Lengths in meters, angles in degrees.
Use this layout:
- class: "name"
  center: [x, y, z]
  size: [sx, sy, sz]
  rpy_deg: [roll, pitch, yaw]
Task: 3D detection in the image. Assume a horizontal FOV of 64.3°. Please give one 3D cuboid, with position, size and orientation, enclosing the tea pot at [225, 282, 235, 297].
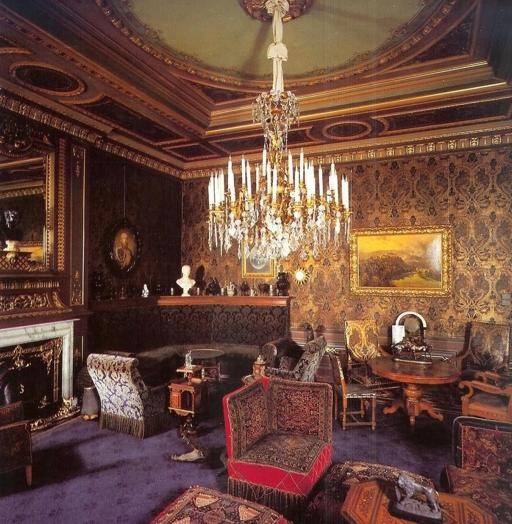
- class: "tea pot"
  center: [-0.532, 0.582, 8.559]
  size: [0.219, 0.332, 0.221]
  rpy_deg: [0, 4, 0]

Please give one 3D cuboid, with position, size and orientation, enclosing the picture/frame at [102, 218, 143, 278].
- class: "picture/frame"
  center: [-2.419, -0.258, 7.266]
  size: [0.069, 1.020, 0.971]
  rpy_deg: [0, 7, 19]

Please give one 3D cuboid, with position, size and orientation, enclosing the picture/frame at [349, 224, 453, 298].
- class: "picture/frame"
  center: [2.593, -0.019, 7.081]
  size: [1.193, 0.942, 0.060]
  rpy_deg: [0, -2, 26]
